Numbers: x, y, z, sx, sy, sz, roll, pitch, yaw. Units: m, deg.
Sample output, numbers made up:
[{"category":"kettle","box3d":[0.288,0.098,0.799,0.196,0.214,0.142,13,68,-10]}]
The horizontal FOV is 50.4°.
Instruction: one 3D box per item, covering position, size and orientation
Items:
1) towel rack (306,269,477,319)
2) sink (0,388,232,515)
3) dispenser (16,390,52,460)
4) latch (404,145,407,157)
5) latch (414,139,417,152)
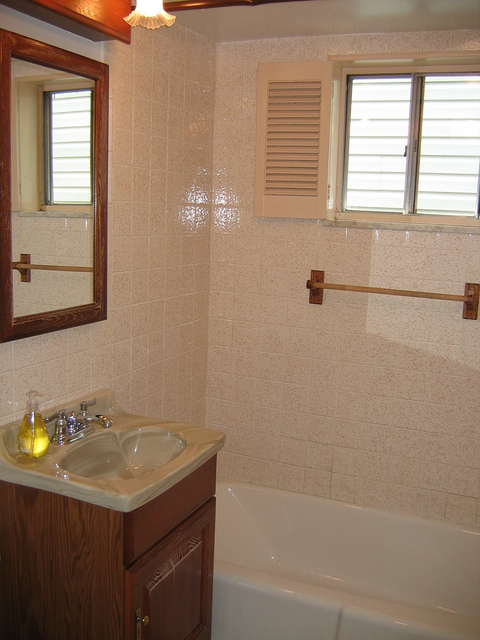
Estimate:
[{"category":"towel rack","box3d":[0.607,-0.111,2.095,0.693,0.159,0.151,6,8,20]},{"category":"sink","box3d":[-0.339,0.344,1.309,0.295,0.130,0.329,13,15,17]},{"category":"dispenser","box3d":[-0.490,0.244,1.204,0.070,0.154,0.070,-1,5,-28]},{"category":"latch","box3d":[0.693,-0.707,2.127,0.005,0.043,0.013,0,8,-21]},{"category":"latch","box3d":[0.727,-0.725,2.108,0.012,0.045,0.004,4,8,9]}]
